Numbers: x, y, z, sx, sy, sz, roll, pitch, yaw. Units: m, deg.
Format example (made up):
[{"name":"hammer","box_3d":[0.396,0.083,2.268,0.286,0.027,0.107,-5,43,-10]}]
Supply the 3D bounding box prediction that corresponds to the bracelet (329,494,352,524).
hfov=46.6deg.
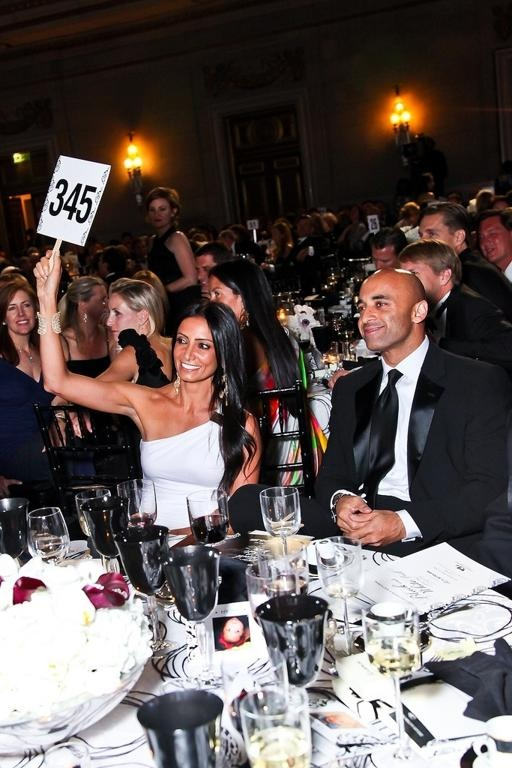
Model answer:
[{"name":"bracelet","box_3d":[0.253,0.375,1.815,0.072,0.089,0.042,-1,0,6]}]

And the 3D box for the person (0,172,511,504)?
[{"name":"person","box_3d":[-0.347,-0.189,2.658,1.958,0.717,1.428,-1,19,0]}]

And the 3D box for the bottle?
[{"name":"bottle","box_3d":[0.173,0.323,0.758,0.067,0.073,0.089,-8,8,13]}]

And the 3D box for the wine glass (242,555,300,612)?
[{"name":"wine glass","box_3d":[0.017,0.290,0.903,0.088,0.095,0.085,-2,-6,-3]}]

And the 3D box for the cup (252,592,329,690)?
[{"name":"cup","box_3d":[0.048,0.299,0.703,0.112,0.106,0.108,-4,-4,0]}]
